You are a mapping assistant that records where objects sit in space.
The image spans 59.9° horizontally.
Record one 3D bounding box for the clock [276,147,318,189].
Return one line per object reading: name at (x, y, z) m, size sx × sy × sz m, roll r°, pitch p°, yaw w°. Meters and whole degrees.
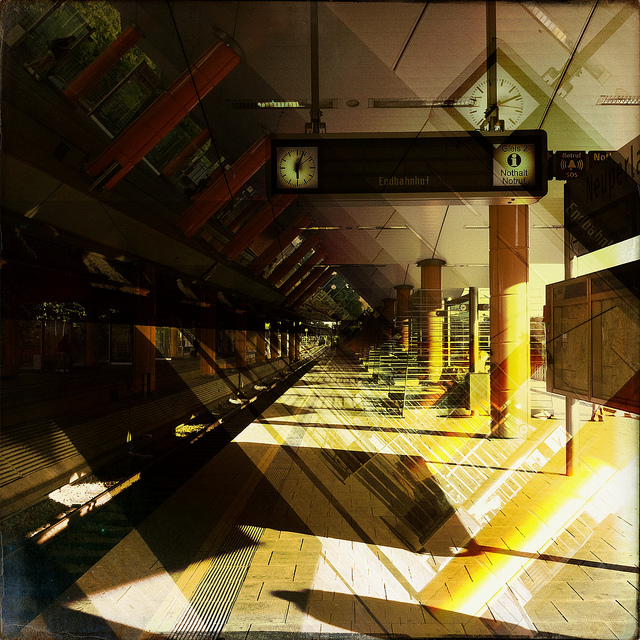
clock at (-0.220, -1.493, 5.394) m, size 0.335 × 0.391 × 0.049 m, roll -1°, pitch 3°, yaw 5°
